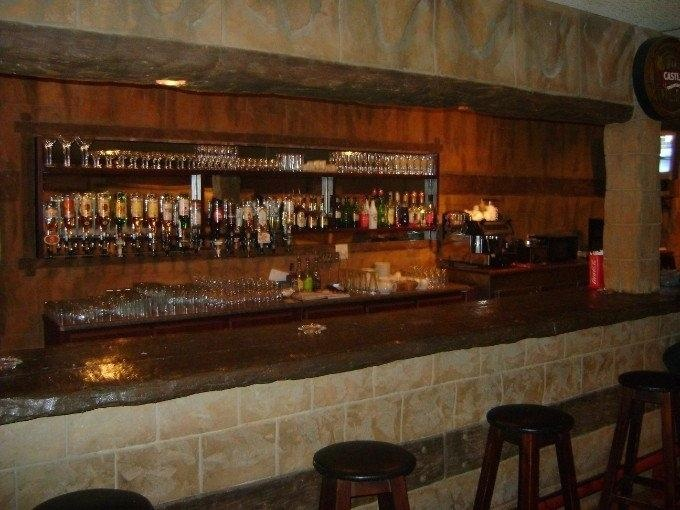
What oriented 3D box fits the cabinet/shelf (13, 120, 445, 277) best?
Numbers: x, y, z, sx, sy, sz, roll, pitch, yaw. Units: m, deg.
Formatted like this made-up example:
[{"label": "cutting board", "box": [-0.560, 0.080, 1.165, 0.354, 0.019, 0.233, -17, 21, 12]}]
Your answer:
[{"label": "cabinet/shelf", "box": [-1.208, -0.646, 5.789, 4.416, 1.348, 0.580, 2, -6, 11]}]
